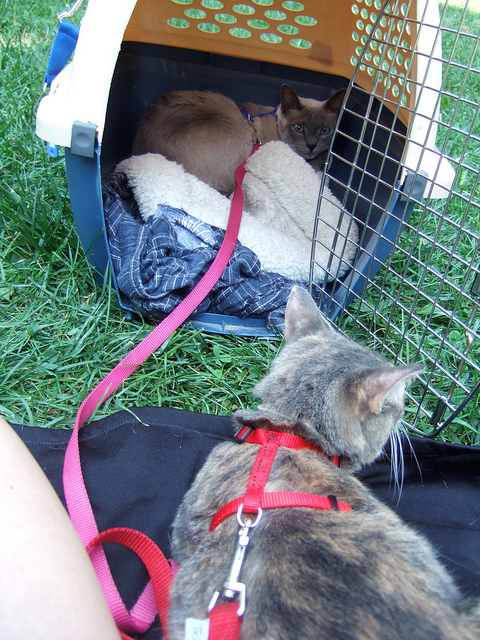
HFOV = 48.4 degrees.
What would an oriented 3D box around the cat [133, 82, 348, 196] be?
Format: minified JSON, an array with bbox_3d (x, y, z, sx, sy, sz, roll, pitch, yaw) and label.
[{"bbox_3d":[-0.013,-0.880,2.702,0.999,0.467,0.490,-11,58,-19],"label":"cat"}]

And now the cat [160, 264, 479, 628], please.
[{"bbox_3d":[0.146,0.265,0.981,0.520,0.480,0.604,6,32,-6],"label":"cat"}]
